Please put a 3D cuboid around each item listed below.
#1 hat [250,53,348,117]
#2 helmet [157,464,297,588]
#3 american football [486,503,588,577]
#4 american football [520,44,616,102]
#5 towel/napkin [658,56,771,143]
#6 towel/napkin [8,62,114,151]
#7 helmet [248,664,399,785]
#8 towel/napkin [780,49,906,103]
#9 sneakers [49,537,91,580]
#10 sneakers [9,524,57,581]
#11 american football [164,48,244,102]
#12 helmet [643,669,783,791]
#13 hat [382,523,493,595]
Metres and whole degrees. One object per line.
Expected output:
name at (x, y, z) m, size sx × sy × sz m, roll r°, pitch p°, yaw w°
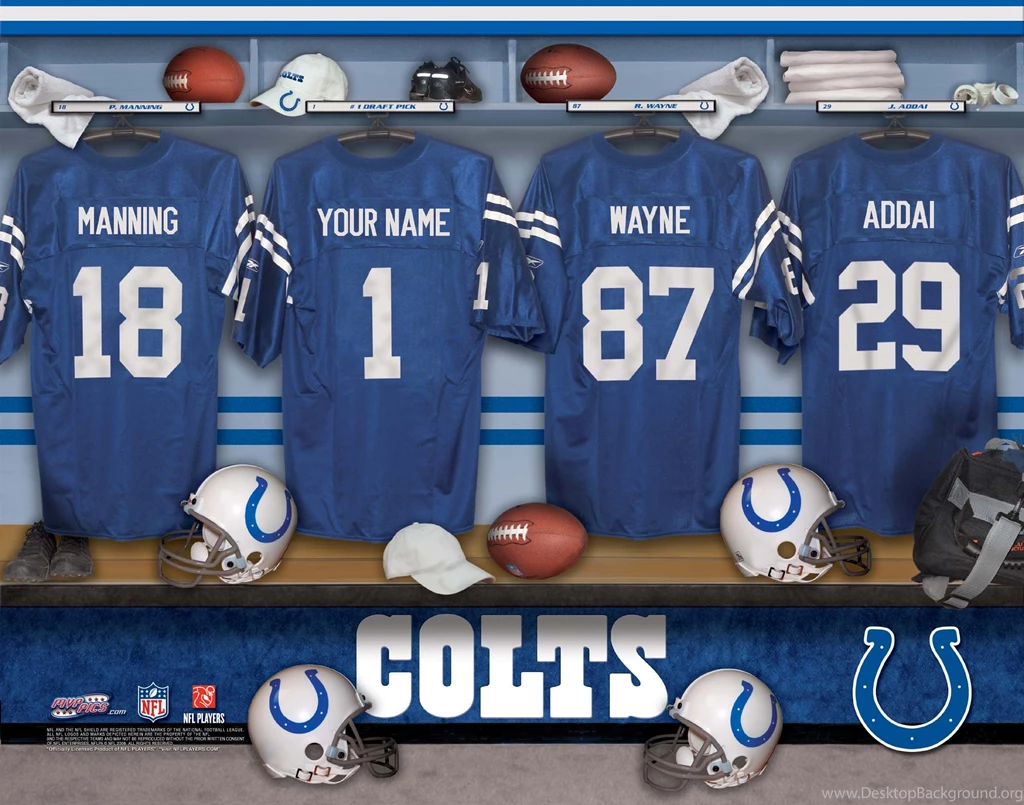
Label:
hat at (-0.602, -0.910, 3.454) m, size 0.250 × 0.131 × 0.157 m, roll -18°, pitch 33°, yaw -40°
helmet at (-0.808, 0.341, 3.434) m, size 0.372 × 0.289 × 0.267 m, roll 0°, pitch 10°, yaw -15°
american football at (0.064, 0.385, 3.377) m, size 0.249 × 0.149 × 0.174 m, roll -3°, pitch -18°, yaw 7°
american football at (0.154, -0.920, 3.411) m, size 0.226 × 0.134 × 0.157 m, roll 0°, pitch 4°, yaw 7°
towel/napkin at (0.571, -0.851, 3.421) m, size 0.264 × 0.167 × 0.176 m, roll -1°, pitch 0°, yaw -21°
towel/napkin at (-1.300, -0.836, 3.496) m, size 0.260 × 0.219 × 0.078 m, roll 24°, pitch -2°, yaw -9°
helmet at (-0.568, 0.915, 3.446) m, size 0.419 × 0.306 × 0.295 m, roll 11°, pitch -9°, yaw 5°
towel/napkin at (0.934, -0.928, 3.468) m, size 0.253 × 0.073 × 0.193 m, roll 2°, pitch 10°, yaw 0°
sneakers at (-1.251, 0.438, 3.454) m, size 0.113 × 0.105 × 0.211 m, roll -1°, pitch 0°, yaw -19°
sneakers at (-1.366, 0.426, 3.465) m, size 0.123 × 0.140 × 0.253 m, roll -1°, pitch 0°, yaw -13°
american football at (-0.876, -0.944, 3.481) m, size 0.194 × 0.149 × 0.151 m, roll -1°, pitch 5°, yaw 0°
helmet at (0.530, 0.951, 3.537) m, size 0.425 × 0.310 × 0.308 m, roll 0°, pitch 7°, yaw -5°
hat at (-0.228, 0.435, 3.372) m, size 0.253 × 0.106 × 0.174 m, roll 11°, pitch 9°, yaw 39°
